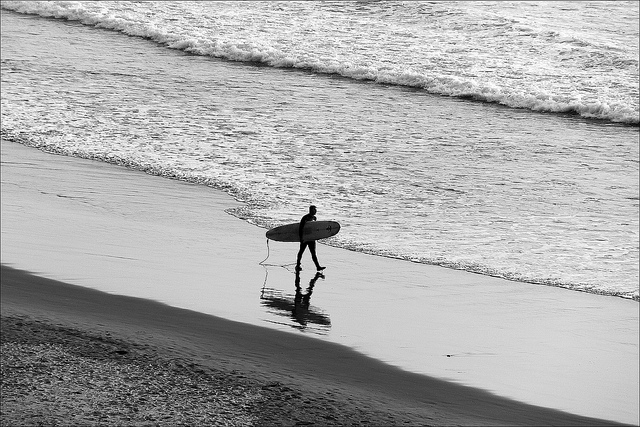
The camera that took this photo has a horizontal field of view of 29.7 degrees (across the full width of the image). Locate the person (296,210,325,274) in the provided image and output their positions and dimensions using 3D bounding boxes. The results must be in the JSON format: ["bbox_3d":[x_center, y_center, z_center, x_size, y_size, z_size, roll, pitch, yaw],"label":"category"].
[{"bbox_3d":[-0.318,0.760,34.999,1.319,1.713,0.609,2,-3,-36],"label":"person"}]

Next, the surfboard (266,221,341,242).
[{"bbox_3d":[-0.461,0.553,35.147,2.639,0.458,0.274,-2,5,-12],"label":"surfboard"}]
